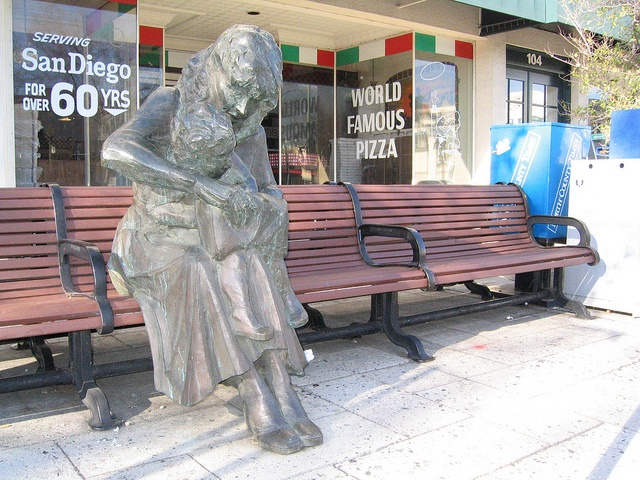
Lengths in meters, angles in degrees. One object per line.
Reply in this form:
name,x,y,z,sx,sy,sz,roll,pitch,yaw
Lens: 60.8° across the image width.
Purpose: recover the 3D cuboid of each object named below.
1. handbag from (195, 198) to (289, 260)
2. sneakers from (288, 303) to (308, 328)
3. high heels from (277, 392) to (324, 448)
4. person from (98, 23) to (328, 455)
handbag,-0.481,-0.071,3.104,0.626,0.329,0.613,-1,-3,10
sneakers,-0.125,0.456,3.166,0.086,0.127,0.145,2,-16,-12
high heels,-0.104,0.958,2.937,0.142,0.234,0.414,-5,0,-30
person,-0.554,-0.006,2.883,1.095,2.198,0.563,0,10,-1
